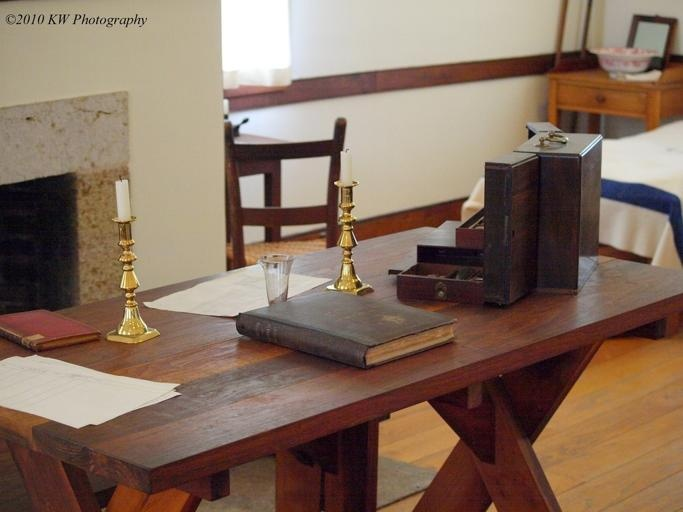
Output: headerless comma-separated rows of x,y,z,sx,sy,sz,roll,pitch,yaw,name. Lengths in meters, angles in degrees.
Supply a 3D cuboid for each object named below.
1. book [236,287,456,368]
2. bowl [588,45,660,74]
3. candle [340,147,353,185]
-0.012,0.125,1.300,0.238,0.033,0.193,10,13,43,book
2.007,-1.385,4.948,0.409,0.104,0.288,-5,13,-23,bowl
0.009,-0.196,1.528,0.022,0.070,0.022,-5,-5,27,candle
